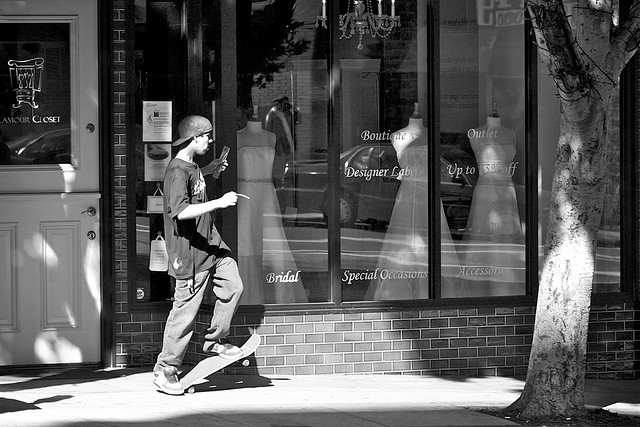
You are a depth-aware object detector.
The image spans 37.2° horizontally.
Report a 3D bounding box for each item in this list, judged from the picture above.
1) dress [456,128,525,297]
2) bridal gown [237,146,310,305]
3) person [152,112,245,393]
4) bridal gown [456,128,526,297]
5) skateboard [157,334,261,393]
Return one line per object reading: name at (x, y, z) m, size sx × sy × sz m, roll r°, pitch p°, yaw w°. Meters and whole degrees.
dress at (1.579, 0.009, 9.758) m, size 0.692 × 1.582 × 0.708 m, roll 4°, pitch -3°, yaw -7°
bridal gown at (-0.463, 0.111, 9.100) m, size 0.673 × 1.479 × 0.448 m, roll 1°, pitch 14°, yaw -5°
person at (-1.022, 0.355, 8.469) m, size 0.727 × 2.413 × 0.923 m, roll 8°, pitch 15°, yaw 20°
bridal gown at (1.837, -0.158, 9.559) m, size 0.753 × 1.562 × 0.719 m, roll 0°, pitch 40°, yaw 9°
skateboard at (-0.821, 1.360, 8.669) m, size 1.239 × 0.179 × 0.288 m, roll -27°, pitch 34°, yaw -13°
